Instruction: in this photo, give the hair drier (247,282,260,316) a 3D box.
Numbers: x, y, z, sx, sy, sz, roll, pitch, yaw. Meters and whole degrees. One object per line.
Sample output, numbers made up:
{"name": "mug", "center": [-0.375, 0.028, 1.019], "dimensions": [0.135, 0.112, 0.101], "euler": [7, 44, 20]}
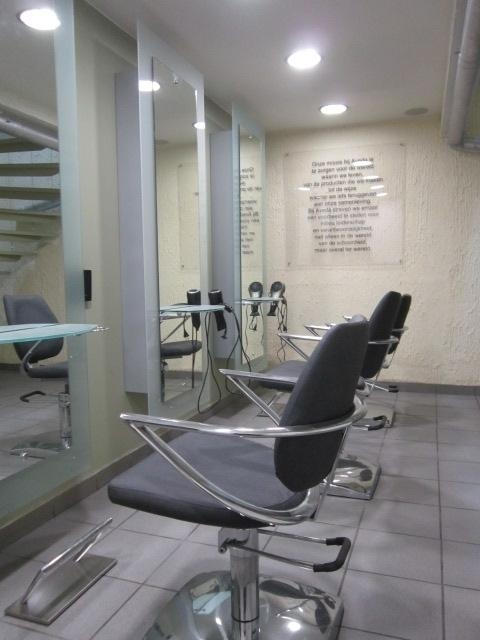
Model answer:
{"name": "hair drier", "center": [0.118, -0.179, 4.188], "dimensions": [0.115, 0.275, 0.099], "euler": [-1, 0, -1]}
